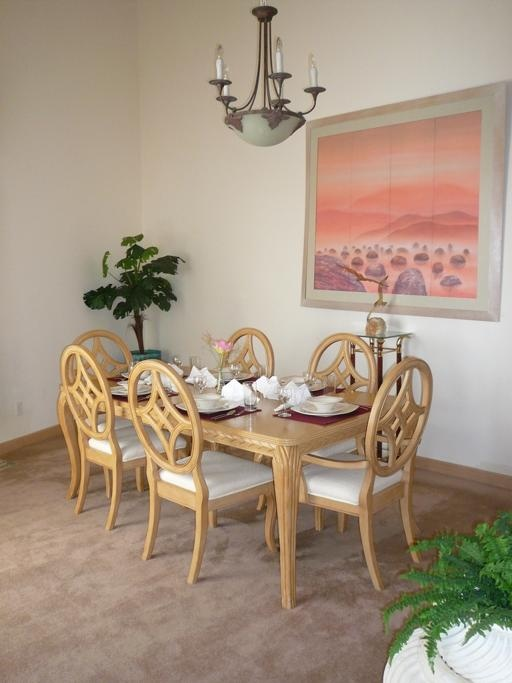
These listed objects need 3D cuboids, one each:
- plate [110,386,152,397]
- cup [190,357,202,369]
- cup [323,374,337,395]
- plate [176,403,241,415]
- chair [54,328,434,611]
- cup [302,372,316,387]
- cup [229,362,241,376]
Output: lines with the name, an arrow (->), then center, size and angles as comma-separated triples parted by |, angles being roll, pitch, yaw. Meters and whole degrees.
plate -> -0.674, 0.266, 2.904 | 0.100, 0.015, 0.101 | 10, 10, 30
cup -> -0.335, 0.116, 2.940 | 0.064, 0.074, 0.065 | 1, 13, 0
cup -> 0.403, 0.241, 3.023 | 0.074, 0.128, 0.076 | 0, 12, 0
plate -> -0.210, 0.311, 2.490 | 0.121, 0.018, 0.123 | 3, 7, 40
chair -> -0.063, 0.636, 2.600 | 1.024, 0.687, 0.627 | 8, 12, 44
cup -> 0.267, 0.194, 2.737 | 0.062, 0.104, 0.072 | -4, -11, 8
cup -> -0.131, 0.160, 3.049 | 0.061, 0.072, 0.063 | 0, 11, 0
